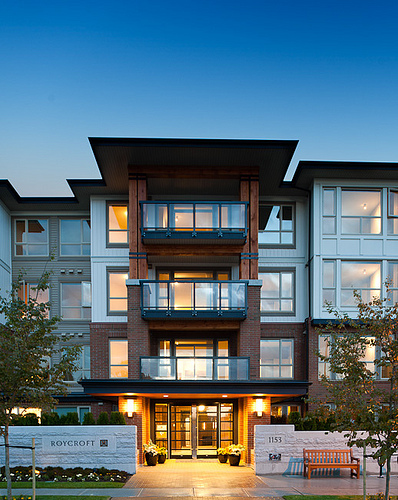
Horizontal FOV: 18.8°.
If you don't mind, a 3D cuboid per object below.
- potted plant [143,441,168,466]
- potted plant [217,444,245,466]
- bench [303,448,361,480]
[{"bbox_3d":[-1.680,7.629,44.526,0.589,0.813,1.166,-4,-10,19],"label":"potted plant"},{"bbox_3d":[1.162,7.667,44.748,0.697,0.561,0.777,-3,-18,6],"label":"potted plant"},{"bbox_3d":[4.565,7.447,41.860,1.896,1.020,1.128,-1,-10,2],"label":"bench"}]
